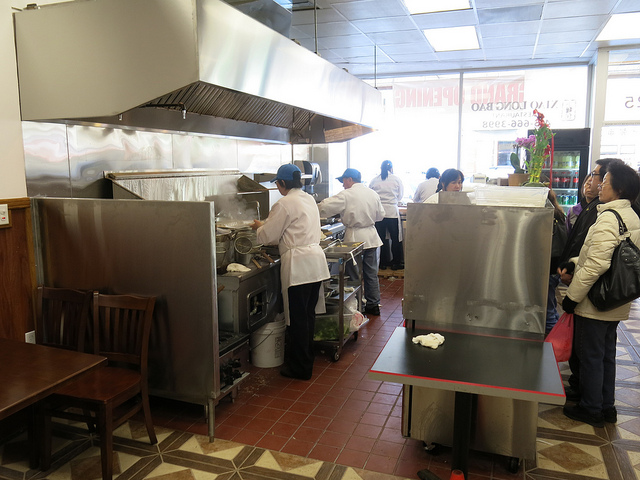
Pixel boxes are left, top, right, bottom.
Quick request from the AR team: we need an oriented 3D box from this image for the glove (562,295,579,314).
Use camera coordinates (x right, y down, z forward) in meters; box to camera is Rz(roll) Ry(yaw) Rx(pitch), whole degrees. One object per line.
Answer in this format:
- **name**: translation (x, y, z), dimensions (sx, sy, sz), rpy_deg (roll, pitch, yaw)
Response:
- **glove**: translation (1.761, 0.456, 3.398), dimensions (0.111, 0.123, 0.117), rpy_deg (-6, 24, -1)

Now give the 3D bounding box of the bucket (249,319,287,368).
- **bucket**: translation (-0.416, 0.891, 4.255), dimensions (0.375, 0.337, 0.381), rpy_deg (-2, 4, 0)

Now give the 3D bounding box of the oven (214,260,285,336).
- **oven**: translation (-0.573, 0.474, 4.146), dimensions (0.314, 0.494, 0.839), rpy_deg (1, 10, 22)

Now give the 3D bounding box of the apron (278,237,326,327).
- **apron**: translation (-0.159, 0.339, 4.154), dimensions (0.398, 0.759, 0.213), rpy_deg (-10, 16, -36)

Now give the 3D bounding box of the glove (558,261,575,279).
- **glove**: translation (1.873, 0.226, 3.597), dimensions (0.104, 0.109, 0.040), rpy_deg (22, 1, 40)

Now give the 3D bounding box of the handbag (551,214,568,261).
- **handbag**: translation (1.925, -0.017, 3.809), dimensions (0.109, 0.328, 0.264), rpy_deg (6, 15, 27)
